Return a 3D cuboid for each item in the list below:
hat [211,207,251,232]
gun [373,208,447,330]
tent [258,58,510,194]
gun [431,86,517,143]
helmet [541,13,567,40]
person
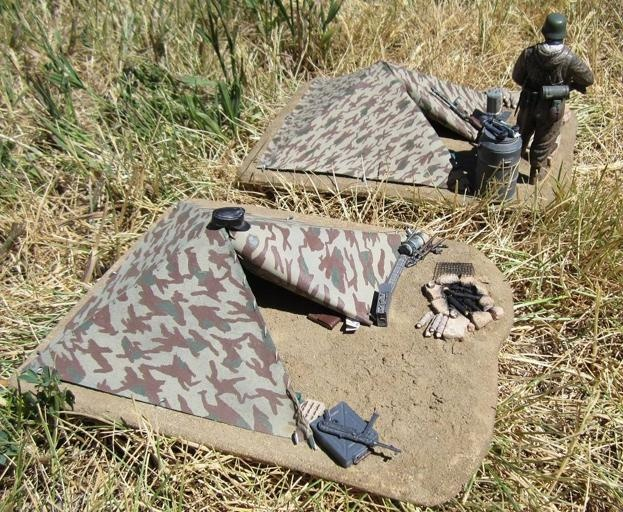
[{"bbox_3d":[-0.511,-0.225,4.289,0.197,0.088,0.134,-1,36,-16],"label":"hat"},{"bbox_3d":[0.623,0.096,4.682,0.429,0.260,0.717,10,55,42],"label":"gun"},{"bbox_3d":[0.542,-1.193,5.874,1.808,0.623,1.203,9,39,16],"label":"tent"},{"bbox_3d":[1.422,-1.120,5.440,0.569,0.206,0.617,-3,48,5],"label":"gun"},{"bbox_3d":[1.803,-1.662,4.949,0.159,0.110,0.201,1,58,7],"label":"helmet"},{"bbox_3d":[1.886,-1.254,5.293,0.445,1.280,0.474,-17,38,-17],"label":"person"}]
